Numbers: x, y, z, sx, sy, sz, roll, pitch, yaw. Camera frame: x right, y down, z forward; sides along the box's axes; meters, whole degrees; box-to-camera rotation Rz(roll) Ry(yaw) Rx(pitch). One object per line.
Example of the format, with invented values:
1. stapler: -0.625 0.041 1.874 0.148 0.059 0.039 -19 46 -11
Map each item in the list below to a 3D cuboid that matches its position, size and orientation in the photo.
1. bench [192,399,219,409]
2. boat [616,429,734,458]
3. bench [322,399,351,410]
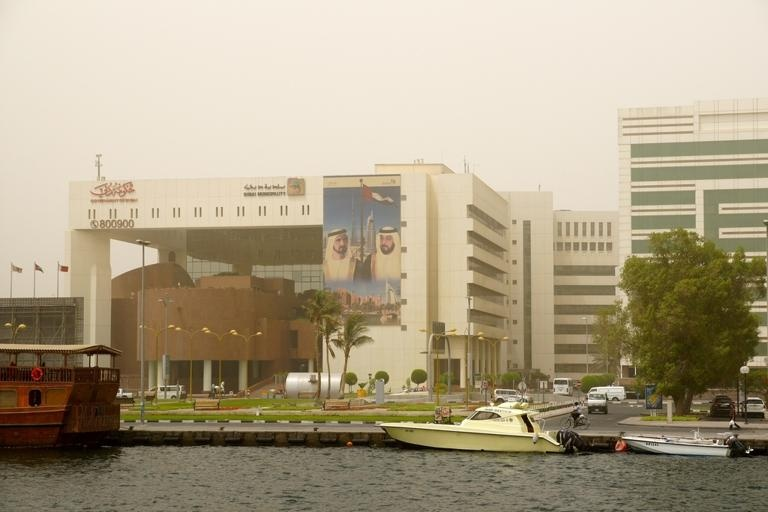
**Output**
1. bench: -19.362 16.698 173.335 2.610 1.123 3.383 2 -10 -23
2. boat: 27.406 18.503 147.537 10.925 2.936 5.923 -1 -2 27
3. bench: -5.134 16.472 171.448 2.828 1.316 3.044 0 -9 -10
